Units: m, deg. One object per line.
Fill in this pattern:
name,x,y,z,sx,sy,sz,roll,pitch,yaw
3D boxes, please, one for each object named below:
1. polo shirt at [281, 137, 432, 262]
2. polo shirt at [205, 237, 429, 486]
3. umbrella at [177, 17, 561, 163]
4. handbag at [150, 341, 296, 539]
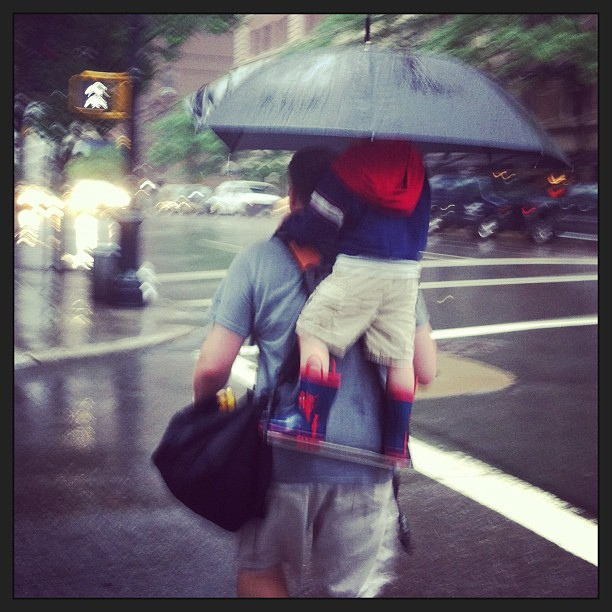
polo shirt,0.343,-0.474,3.354,0.776,0.565,0.463,-2,22,-31
polo shirt,0.174,0.207,3.378,1.203,1.257,0.545,5,26,15
umbrella,0.214,-0.922,3.062,0.912,0.416,0.919,13,16,37
handbag,-0.374,0.591,3.317,0.589,0.921,0.421,22,-4,-6
